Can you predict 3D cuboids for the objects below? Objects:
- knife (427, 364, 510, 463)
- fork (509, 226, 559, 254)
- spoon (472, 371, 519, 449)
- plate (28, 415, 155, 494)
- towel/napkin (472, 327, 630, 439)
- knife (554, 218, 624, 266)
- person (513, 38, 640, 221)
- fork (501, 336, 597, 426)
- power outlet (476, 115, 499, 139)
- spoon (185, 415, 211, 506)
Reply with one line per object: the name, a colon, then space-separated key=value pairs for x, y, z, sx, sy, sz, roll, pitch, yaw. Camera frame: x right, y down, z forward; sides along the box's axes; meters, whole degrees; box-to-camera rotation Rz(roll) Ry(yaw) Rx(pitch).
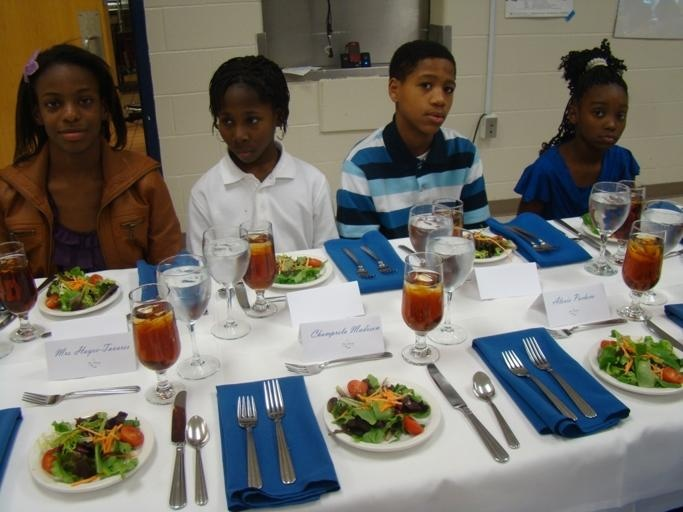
knife: x=0.262 y=0.326 z=1.065 sx=0.047 sy=0.018 sz=0.343 roll=-7 pitch=20 yaw=-9
fork: x=0.650 y=-0.057 z=1.710 sx=0.049 sy=0.022 sz=0.186 roll=0 pitch=17 yaw=-11
spoon: x=0.329 y=0.330 z=1.072 sx=0.040 sy=0.029 sz=0.206 roll=-9 pitch=31 yaw=-3
plate: x=-0.466 y=0.370 z=0.951 sx=0.142 sy=0.044 sz=0.142 roll=-18 pitch=33 yaw=-37
towel/napkin: x=0.464 y=0.276 z=1.130 sx=0.152 sy=0.043 sz=0.249 roll=-10 pitch=29 yaw=-15
knife: x=0.853 y=-0.099 z=1.879 sx=0.059 sy=0.053 sz=0.443 roll=-20 pitch=32 yaw=-12
person: x=1.169 y=-0.591 z=2.414 sx=0.494 sy=0.774 sz=0.599 roll=13 pitch=29 yaw=28
fork: x=0.453 y=0.260 z=1.102 sx=0.063 sy=0.025 sz=0.218 roll=-6 pitch=31 yaw=-17
power outlet: x=1.038 y=-0.928 z=3.608 sx=0.110 sy=0.166 sz=0.081 roll=-9 pitch=27 yaw=-14
spoon: x=-0.283 y=0.388 z=0.992 sx=0.038 sy=0.023 sz=0.194 roll=0 pitch=29 yaw=-11
